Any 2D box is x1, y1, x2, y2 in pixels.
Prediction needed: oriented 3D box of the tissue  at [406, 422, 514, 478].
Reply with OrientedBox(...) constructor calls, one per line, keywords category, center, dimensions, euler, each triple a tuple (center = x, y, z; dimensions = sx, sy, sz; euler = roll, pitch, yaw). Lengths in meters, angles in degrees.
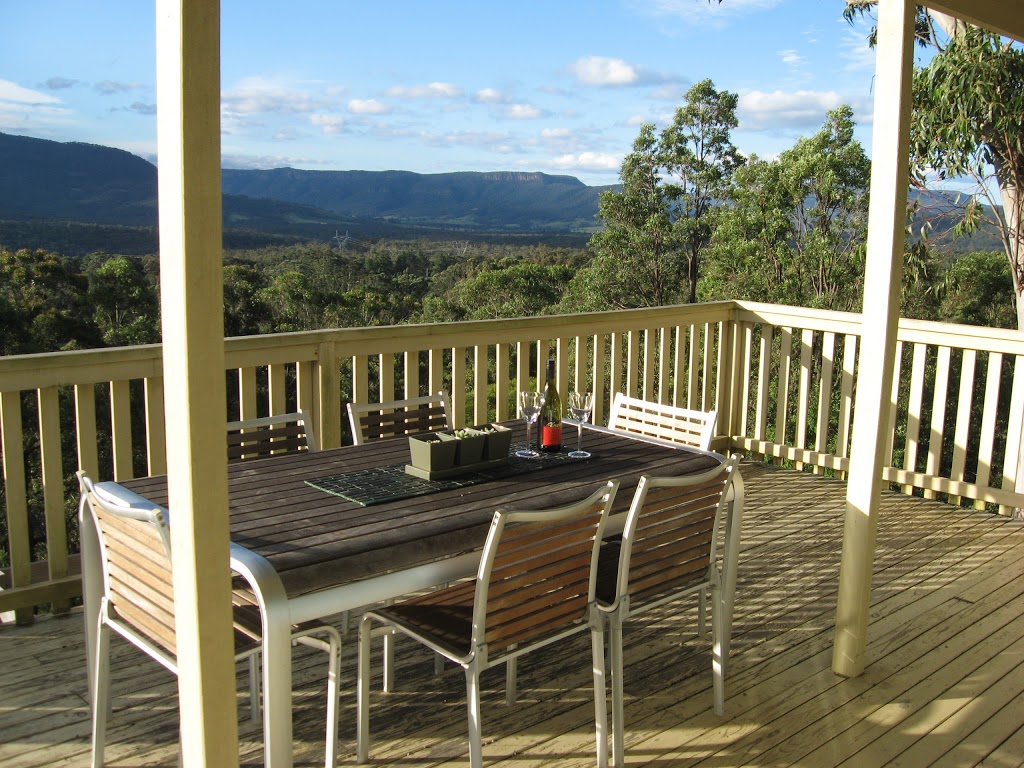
OrientedBox(category="tissue ", center=(-0.108, 0.141, 2.097), dimensions=(0.218, 0.104, 0.030), euler=(-2, 8, -17))
